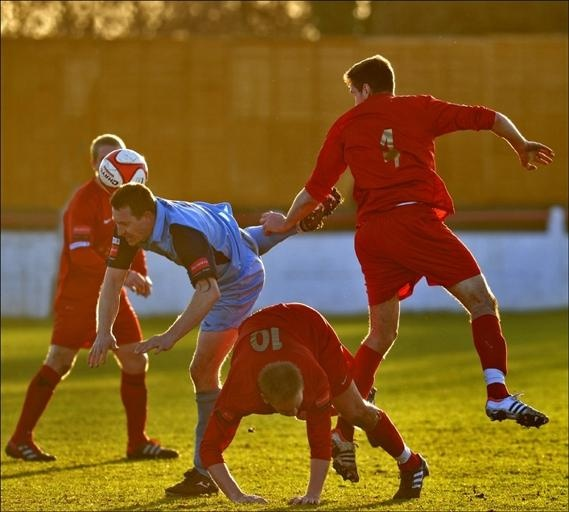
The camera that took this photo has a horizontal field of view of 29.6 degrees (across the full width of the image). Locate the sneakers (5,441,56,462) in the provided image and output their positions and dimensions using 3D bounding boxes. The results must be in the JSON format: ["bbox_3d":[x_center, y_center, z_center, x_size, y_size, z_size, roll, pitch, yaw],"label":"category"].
[{"bbox_3d":[-1.943,1.500,8.228,0.423,0.195,0.149,4,-2,-11],"label":"sneakers"}]

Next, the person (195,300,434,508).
[{"bbox_3d":[0.147,1.075,7.169,0.885,0.894,1.482,-12,-27,6],"label":"person"}]

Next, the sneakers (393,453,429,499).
[{"bbox_3d":[0.838,1.511,7.268,0.130,0.388,0.189,15,-14,35],"label":"sneakers"}]

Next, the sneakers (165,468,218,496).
[{"bbox_3d":[-0.613,1.575,7.399,0.420,0.215,0.150,1,-10,-9],"label":"sneakers"}]

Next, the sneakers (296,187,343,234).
[{"bbox_3d":[0.268,-0.316,7.782,0.145,0.346,0.261,36,13,-5],"label":"sneakers"}]

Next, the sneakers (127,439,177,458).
[{"bbox_3d":[-1.015,1.468,8.283,0.423,0.186,0.150,-1,-4,1],"label":"sneakers"}]
